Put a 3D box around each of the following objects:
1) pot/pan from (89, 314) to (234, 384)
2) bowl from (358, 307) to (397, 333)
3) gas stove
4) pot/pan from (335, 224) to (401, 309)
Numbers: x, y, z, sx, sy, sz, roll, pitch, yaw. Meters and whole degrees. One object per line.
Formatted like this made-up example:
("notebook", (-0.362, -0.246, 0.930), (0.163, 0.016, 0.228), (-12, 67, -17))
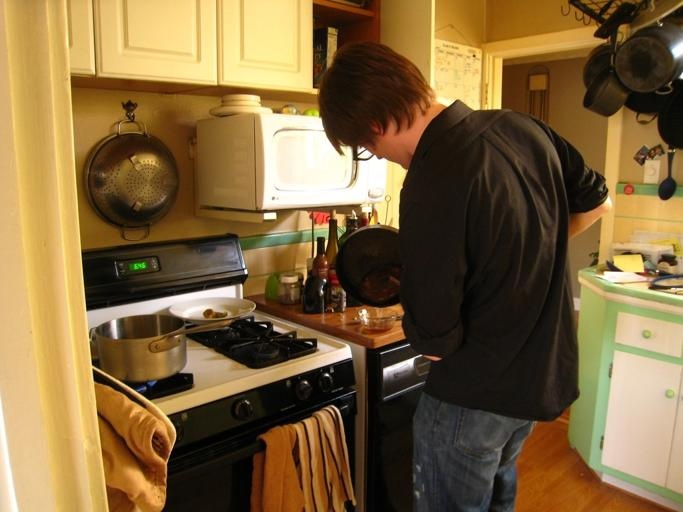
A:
("pot/pan", (-0.543, 0.240, 1.699), (0.362, 0.153, 0.199), (-3, 3, -35))
("bowl", (0.127, 0.230, 2.087), (0.089, 0.038, 0.090), (-2, 14, 0))
("gas stove", (-0.294, 0.401, 1.698), (0.401, 0.211, 0.521), (11, 15, 37))
("pot/pan", (0.082, 0.023, 1.685), (0.211, 0.228, 0.106), (-5, 17, -7))
